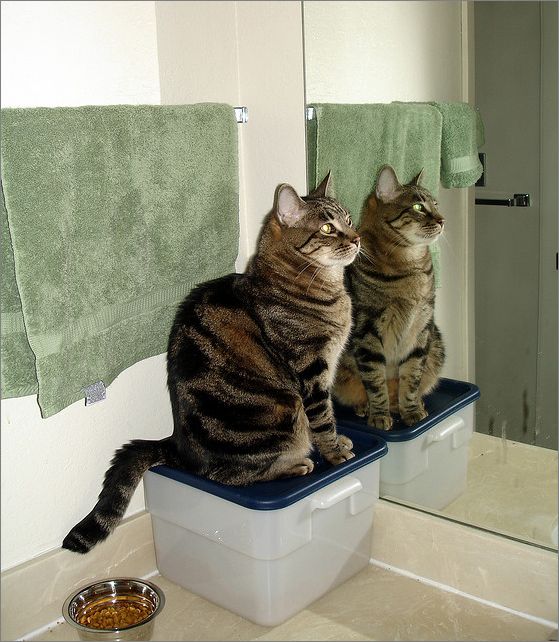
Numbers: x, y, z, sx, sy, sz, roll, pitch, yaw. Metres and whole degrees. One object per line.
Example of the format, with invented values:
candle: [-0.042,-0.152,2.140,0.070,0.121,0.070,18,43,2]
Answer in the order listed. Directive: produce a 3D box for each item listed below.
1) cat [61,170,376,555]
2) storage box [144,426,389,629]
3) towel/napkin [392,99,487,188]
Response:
cat: [-0.107,0.073,1.040,0.545,0.544,0.213,-18,22,-34]
storage box: [-0.016,0.362,1.188,0.371,0.265,0.387,7,10,38]
towel/napkin: [0.242,-0.270,0.951,0.041,0.123,0.119,-8,13,-34]
